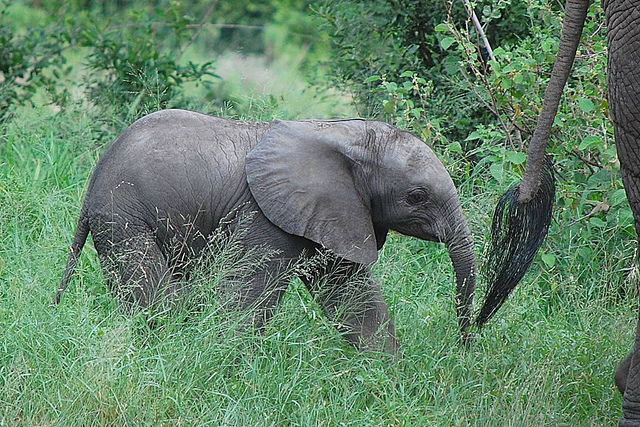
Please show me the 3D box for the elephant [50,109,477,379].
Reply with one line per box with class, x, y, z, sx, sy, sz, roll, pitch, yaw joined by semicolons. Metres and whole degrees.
elephant;-0.340;0.138;4.509;2.542;1.551;1.053;3;12;1
